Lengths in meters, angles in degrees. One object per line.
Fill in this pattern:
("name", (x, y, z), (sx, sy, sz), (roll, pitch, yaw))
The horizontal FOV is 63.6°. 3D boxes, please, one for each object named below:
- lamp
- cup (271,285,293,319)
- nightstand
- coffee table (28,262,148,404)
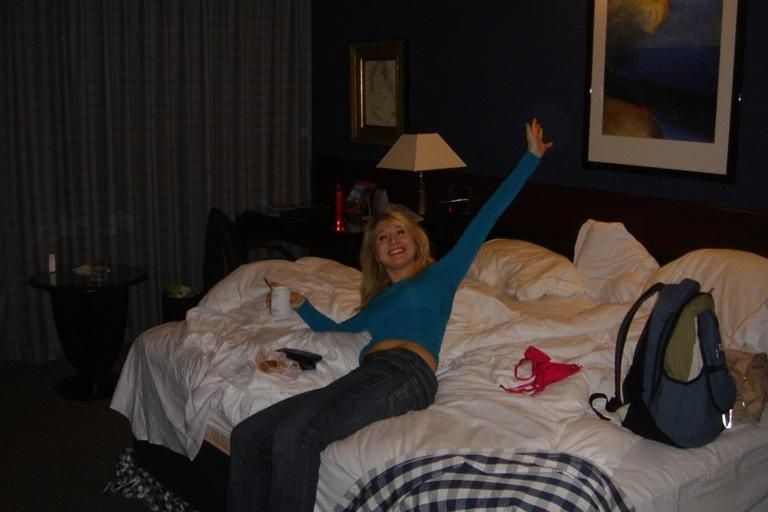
("lamp", (0.307, -0.628, 4.958), (0.685, 0.672, 0.656), (-7, 8, -35))
("cup", (-0.580, 0.255, 3.694), (0.158, 0.180, 0.160), (2, 21, -1))
("nightstand", (-0.538, -0.195, 5.261), (0.464, 0.570, 0.870), (-10, 22, -31))
("coffee table", (-2.206, 0.567, 4.734), (0.843, 0.884, 0.822), (-1, 9, -17))
